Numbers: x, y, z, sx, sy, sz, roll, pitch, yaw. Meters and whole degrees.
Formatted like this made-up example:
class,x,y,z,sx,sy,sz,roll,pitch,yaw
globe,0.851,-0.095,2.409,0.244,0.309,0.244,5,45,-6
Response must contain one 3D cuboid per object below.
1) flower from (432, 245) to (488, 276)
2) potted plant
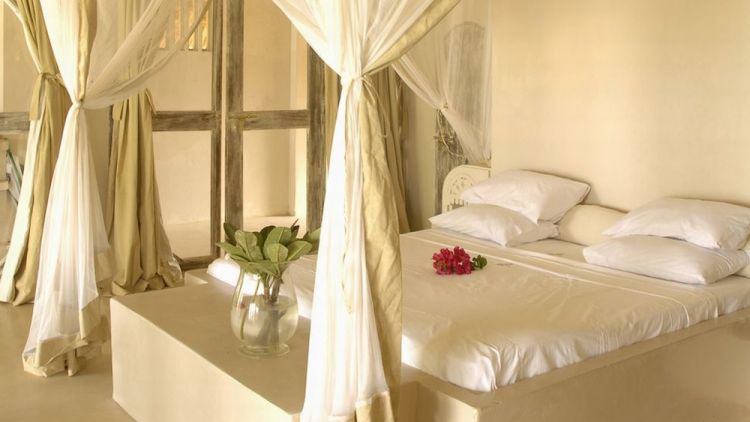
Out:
class,x,y,z,sx,sy,sz,roll,pitch,yaw
flower,0.676,0.397,3.722,0.401,0.191,0.255,1,11,2
potted plant,-0.572,0.529,2.997,0.601,0.698,0.775,-5,-3,13
